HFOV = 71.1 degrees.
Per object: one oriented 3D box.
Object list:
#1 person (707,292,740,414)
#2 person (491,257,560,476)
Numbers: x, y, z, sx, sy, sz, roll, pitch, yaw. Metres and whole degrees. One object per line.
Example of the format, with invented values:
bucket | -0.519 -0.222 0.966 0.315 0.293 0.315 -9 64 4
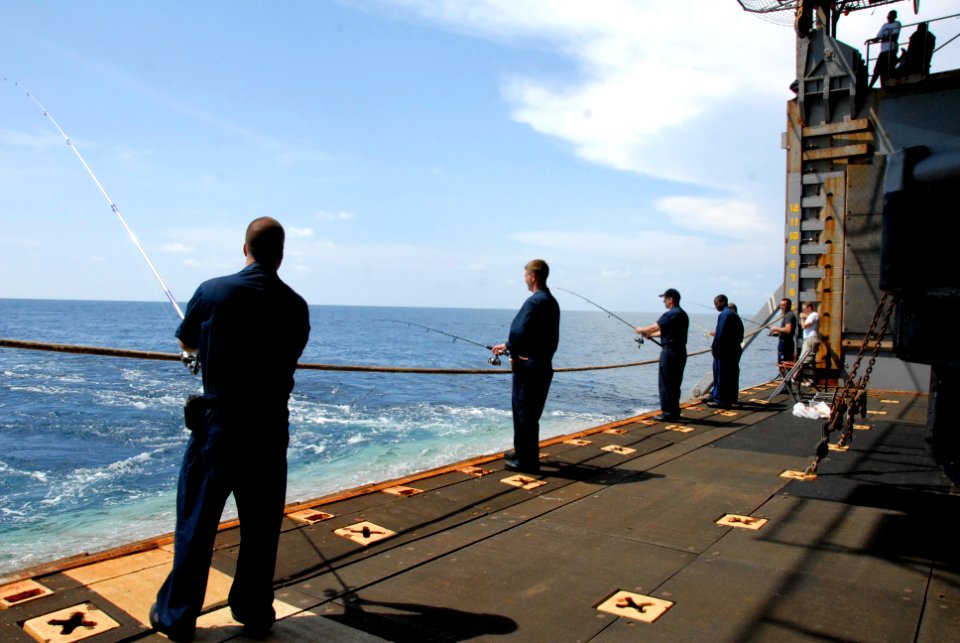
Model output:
person | 4.204 0.533 11.405 0.528 1.948 1.079 6 10 19
person | 0.521 0.492 7.251 0.618 2.320 0.763 3 10 3
